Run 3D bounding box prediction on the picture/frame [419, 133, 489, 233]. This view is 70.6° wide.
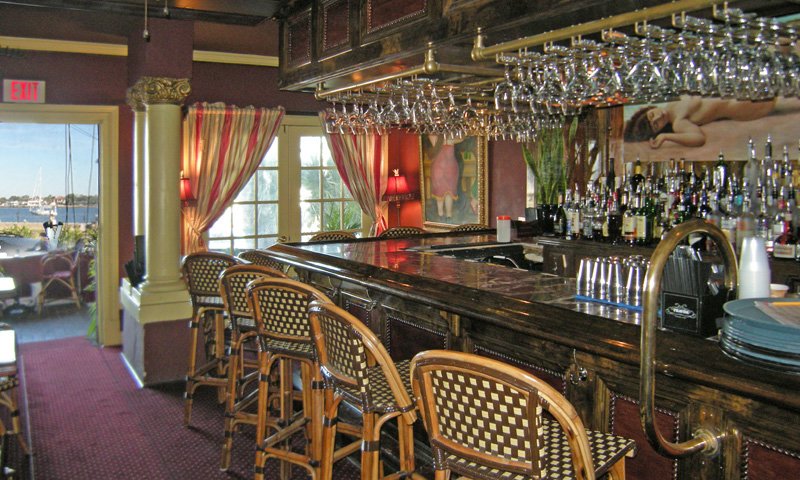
[{"bbox_3d":[0.769,-0.798,7.753,0.133,1.630,1.452,-4,5,-41],"label":"picture/frame"}]

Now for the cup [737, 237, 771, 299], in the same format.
[{"bbox_3d":[1.692,0.138,2.706,0.138,0.303,0.132,-1,10,0],"label":"cup"}]

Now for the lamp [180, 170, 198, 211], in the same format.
[{"bbox_3d":[-2.729,-0.655,7.305,0.176,0.458,0.346,-5,11,-19],"label":"lamp"}]

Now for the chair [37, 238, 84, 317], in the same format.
[{"bbox_3d":[-5.329,0.628,8.910,0.938,1.321,0.890,2,0,-23],"label":"chair"}]

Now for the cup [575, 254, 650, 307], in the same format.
[{"bbox_3d":[1.212,0.234,3.297,0.323,0.199,0.322,0,-1,0],"label":"cup"}]

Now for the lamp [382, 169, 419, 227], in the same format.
[{"bbox_3d":[0.019,-0.647,8.646,0.533,0.887,0.413,-2,10,-1],"label":"lamp"}]
